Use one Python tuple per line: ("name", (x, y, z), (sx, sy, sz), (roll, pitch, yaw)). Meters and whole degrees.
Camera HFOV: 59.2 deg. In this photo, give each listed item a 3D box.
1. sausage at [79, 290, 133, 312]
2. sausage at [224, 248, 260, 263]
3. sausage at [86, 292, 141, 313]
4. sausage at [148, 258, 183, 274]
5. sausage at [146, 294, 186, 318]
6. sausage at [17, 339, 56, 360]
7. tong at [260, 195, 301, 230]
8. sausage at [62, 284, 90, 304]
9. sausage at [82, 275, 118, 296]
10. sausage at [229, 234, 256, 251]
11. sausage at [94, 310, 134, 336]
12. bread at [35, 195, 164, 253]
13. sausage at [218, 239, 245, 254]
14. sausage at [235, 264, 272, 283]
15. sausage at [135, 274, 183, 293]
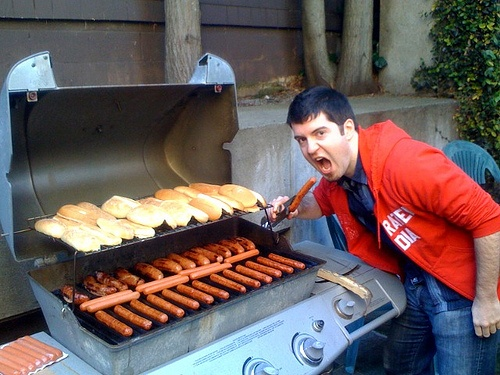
("sausage", (-0.755, 0.606, 2.365), (0.300, 0.064, 0.060), (-16, -2, -39))
("sausage", (-0.055, 0.445, 2.843), (0.252, 0.053, 0.053), (-18, 39, -21))
("sausage", (-0.740, 0.610, 2.357), (0.329, 0.069, 0.063), (-16, -6, -43))
("sausage", (-0.521, 0.482, 2.700), (0.192, 0.069, 0.063), (7, -12, 46))
("sausage", (-0.451, 0.623, 2.369), (0.076, 0.078, 0.282), (6, 8, -45))
("sausage", (-1.084, 0.814, 2.234), (0.180, 0.030, 0.094), (24, 13, 34))
("tong", (0.206, 0.177, 3.175), (0.221, 0.240, 0.192), (3, 15, 22))
("sausage", (-0.948, 0.581, 2.375), (0.145, 0.056, 0.105), (27, 8, 42))
("sausage", (-0.868, 0.537, 2.484), (0.147, 0.042, 0.099), (18, 47, 27))
("sausage", (-0.045, 0.371, 3.029), (0.157, 0.055, 0.072), (23, 21, 39))
("sausage", (-0.693, 0.684, 2.214), (0.278, 0.084, 0.060), (-1, 11, 39))
("bread", (-0.866, 0.129, 2.528), (0.602, 0.249, 0.598), (-13, 21, -42))
("sausage", (-0.115, 0.394, 2.973), (0.098, 0.032, 0.101), (27, 18, 28))
("sausage", (0.011, 0.500, 2.627), (0.270, 0.066, 0.073), (18, 8, 41))
("sausage", (-0.518, 0.546, 2.522), (0.084, 0.043, 0.288), (3, 10, 44))
